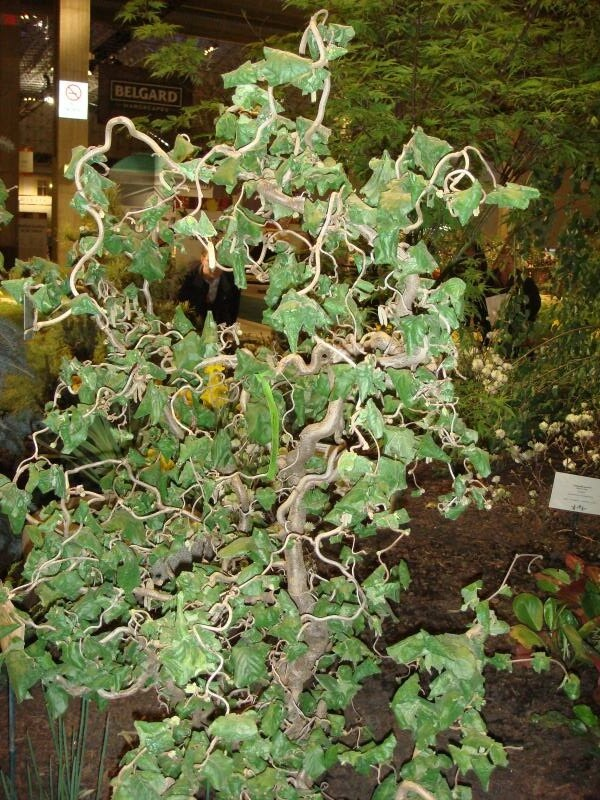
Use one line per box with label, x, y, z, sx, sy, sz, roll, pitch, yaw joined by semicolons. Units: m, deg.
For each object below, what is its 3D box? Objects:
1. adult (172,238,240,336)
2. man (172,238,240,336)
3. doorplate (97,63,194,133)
adult;-0.552;-0.613;3.867;0.377;0.397;0.644;-2;15;-7
man;-0.553;-0.614;3.873;0.377;0.397;0.633;-2;15;-7
doorplate;-1.115;-2.169;4.715;0.743;0.378;0.104;-16;32;-39
